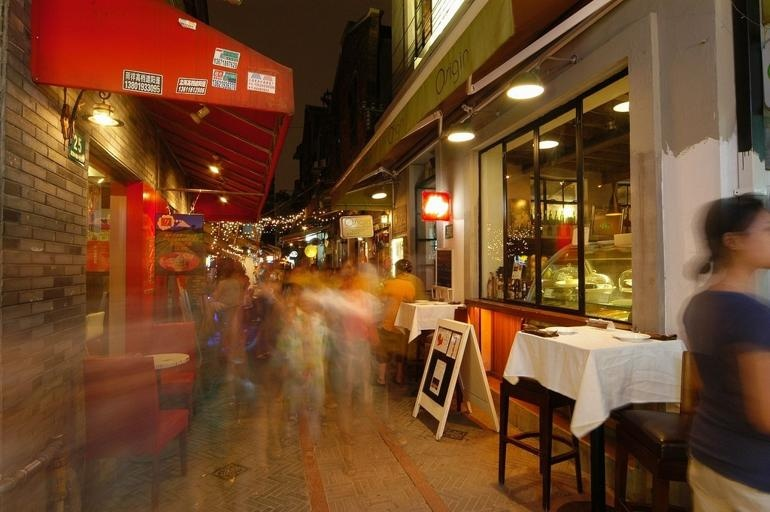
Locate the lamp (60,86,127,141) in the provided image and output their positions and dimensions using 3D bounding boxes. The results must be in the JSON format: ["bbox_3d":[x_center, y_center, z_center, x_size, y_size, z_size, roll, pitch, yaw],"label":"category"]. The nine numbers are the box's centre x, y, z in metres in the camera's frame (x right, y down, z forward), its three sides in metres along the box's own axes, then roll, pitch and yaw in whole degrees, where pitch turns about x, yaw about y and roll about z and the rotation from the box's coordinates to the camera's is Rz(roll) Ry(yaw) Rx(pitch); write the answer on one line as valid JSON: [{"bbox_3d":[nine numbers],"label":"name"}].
[{"bbox_3d":[-3.271,-1.569,6.311,0.481,0.590,1.253,-3,11,-18],"label":"lamp"}]

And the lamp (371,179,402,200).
[{"bbox_3d":[0.006,-1.690,15.016,0.748,0.487,1.186,0,10,0],"label":"lamp"}]

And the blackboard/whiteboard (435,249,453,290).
[{"bbox_3d":[1.081,0.210,10.503,0.163,0.728,0.750,-2,10,-12],"label":"blackboard/whiteboard"}]
